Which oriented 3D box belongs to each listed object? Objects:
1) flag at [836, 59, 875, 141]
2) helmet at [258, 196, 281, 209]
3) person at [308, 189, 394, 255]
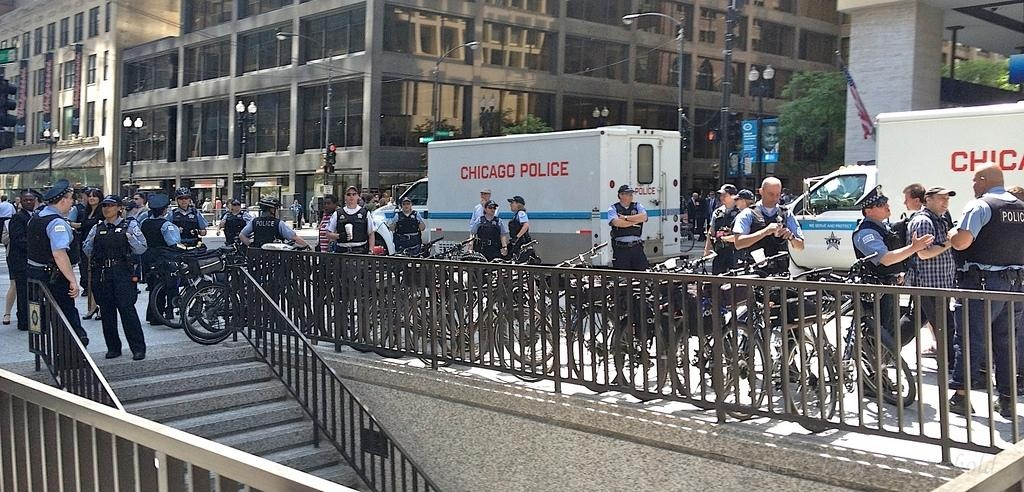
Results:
[{"bbox_3d":[15.073,-6.428,46.245,1.238,3.521,1.049,0,-2,40],"label":"flag"},{"bbox_3d":[-8.145,-1.417,35.927,0.626,0.386,0.349,-5,5,-20],"label":"helmet"},{"bbox_3d":[-5.505,-0.550,37.261,1.285,2.944,1.484,0,0,-19],"label":"person"}]
